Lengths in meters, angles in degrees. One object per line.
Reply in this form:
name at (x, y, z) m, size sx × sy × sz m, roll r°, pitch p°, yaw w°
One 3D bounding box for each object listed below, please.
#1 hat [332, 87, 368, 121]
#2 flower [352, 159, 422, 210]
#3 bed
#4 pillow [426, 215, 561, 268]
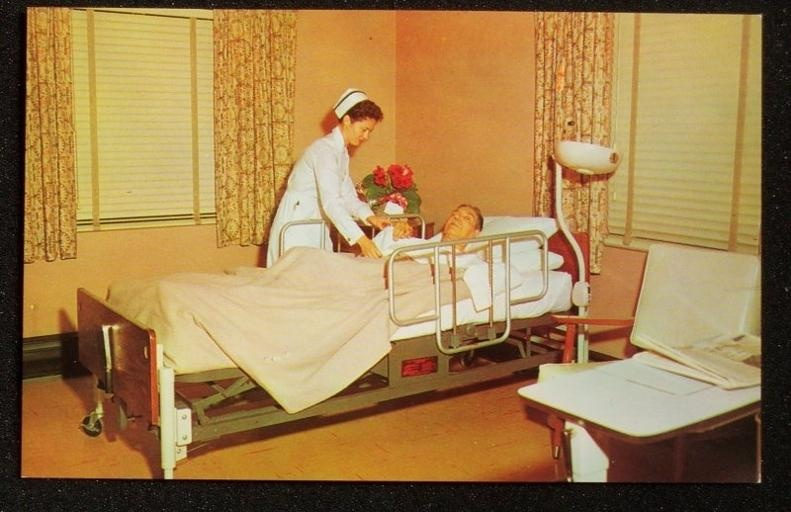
hat at (-0.328, -1.126, 5.263) m, size 0.150 × 0.221 × 0.272 m, roll -7°, pitch 13°, yaw -30°
flower at (-0.051, -0.563, 5.958) m, size 0.454 × 0.258 × 0.419 m, roll -10°, pitch 53°, yaw -14°
bed at (-0.386, 0.477, 5.159) m, size 3.257 × 1.328 × 1.782 m, roll -7°, pitch 15°, yaw -21°
pillow at (0.913, -0.123, 5.278) m, size 0.619 × 0.168 × 0.530 m, roll 6°, pitch 28°, yaw 19°
